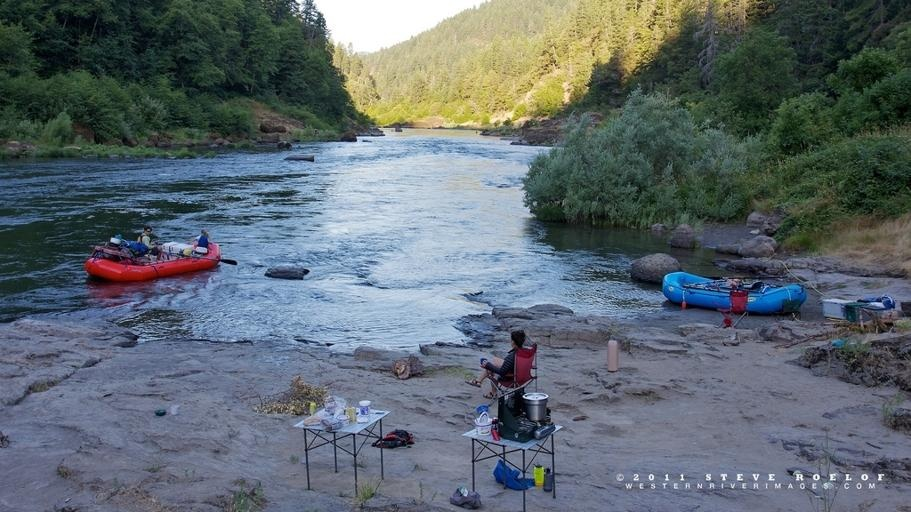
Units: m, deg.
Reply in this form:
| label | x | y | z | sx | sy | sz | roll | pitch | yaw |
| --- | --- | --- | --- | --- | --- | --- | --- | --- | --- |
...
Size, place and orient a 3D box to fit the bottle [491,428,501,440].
| label | x | y | z | sx | sy | sz | roll | pitch | yaw |
| --- | --- | --- | --- | --- | --- | --- | --- | --- | --- |
| bottle | 1.431 | 6.363 | 24.826 | 0.318 | 0.097 | 0.455 | -8 | 14 | -13 |

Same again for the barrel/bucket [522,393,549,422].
| label | x | y | z | sx | sy | sz | roll | pitch | yaw |
| --- | --- | --- | --- | --- | --- | --- | --- | --- | --- |
| barrel/bucket | 2.874 | 5.458 | 25.445 | 1.214 | 0.818 | 1.103 | 0 | 0 | 0 |

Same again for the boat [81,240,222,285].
| label | x | y | z | sx | sy | sz | roll | pitch | yaw |
| --- | --- | --- | --- | --- | --- | --- | --- | --- | --- |
| boat | -16.829 | 0.411 | 39.235 | 6.101 | 1.177 | 2.944 | -7 | 18 | -39 |

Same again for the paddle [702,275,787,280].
| label | x | y | z | sx | sy | sz | roll | pitch | yaw |
| --- | --- | --- | --- | --- | --- | --- | --- | --- | --- |
| paddle | 16.282 | 1.189 | 39.094 | 3.855 | 0.170 | 0.158 | 1 | -20 | -3 |

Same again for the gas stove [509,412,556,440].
| label | x | y | z | sx | sy | sz | roll | pitch | yaw |
| --- | --- | --- | --- | --- | --- | --- | --- | --- | --- |
| gas stove | 2.648 | 6.064 | 24.870 | 1.178 | 0.433 | 1.162 | 1 | 1 | 39 |

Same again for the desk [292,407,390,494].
| label | x | y | z | sx | sy | sz | roll | pitch | yaw |
| --- | --- | --- | --- | --- | --- | --- | --- | --- | --- |
| desk | -4.292 | 7.157 | 26.001 | 3.763 | 2.322 | 3.230 | -1 | -4 | 9 |

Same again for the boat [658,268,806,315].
| label | x | y | z | sx | sy | sz | roll | pitch | yaw |
| --- | --- | --- | --- | --- | --- | --- | --- | --- | --- |
| boat | 14.270 | 1.941 | 36.216 | 5.681 | 1.178 | 2.874 | 2 | 4 | 21 |

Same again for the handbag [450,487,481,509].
| label | x | y | z | sx | sy | sz | roll | pitch | yaw |
| --- | --- | --- | --- | --- | --- | --- | --- | --- | --- |
| handbag | 0.304 | 8.420 | 24.196 | 1.047 | 0.361 | 0.608 | 4 | 3 | 30 |

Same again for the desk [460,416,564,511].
| label | x | y | z | sx | sy | sz | roll | pitch | yaw |
| --- | --- | --- | --- | --- | --- | --- | --- | --- | --- |
| desk | 1.753 | 7.771 | 25.302 | 3.594 | 2.135 | 3.685 | -2 | -2 | 31 |

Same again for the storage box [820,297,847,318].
| label | x | y | z | sx | sy | sz | roll | pitch | yaw |
| --- | --- | --- | --- | --- | --- | --- | --- | --- | --- |
| storage box | 18.029 | 2.499 | 33.416 | 1.589 | 0.790 | 0.974 | 4 | 2 | -3 |
